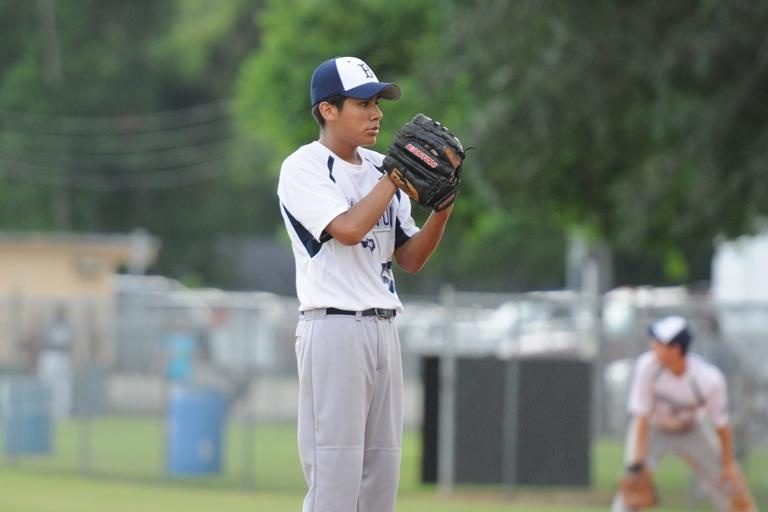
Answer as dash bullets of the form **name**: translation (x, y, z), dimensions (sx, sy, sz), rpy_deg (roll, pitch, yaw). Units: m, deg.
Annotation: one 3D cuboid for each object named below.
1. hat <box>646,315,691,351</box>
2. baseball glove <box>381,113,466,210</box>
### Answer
- **hat**: translation (2.203, 0.589, 13.720), dimensions (0.257, 0.259, 0.265), rpy_deg (-31, 21, -19)
- **baseball glove**: translation (0.274, -0.667, 12.625), dimensions (0.584, 0.684, 0.227), rpy_deg (-1, -9, -1)
